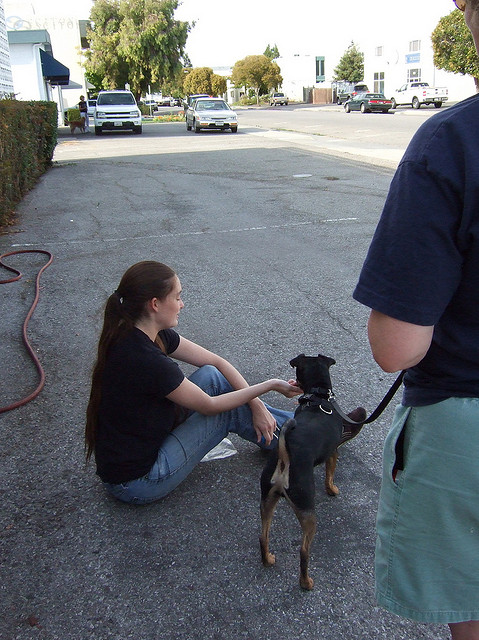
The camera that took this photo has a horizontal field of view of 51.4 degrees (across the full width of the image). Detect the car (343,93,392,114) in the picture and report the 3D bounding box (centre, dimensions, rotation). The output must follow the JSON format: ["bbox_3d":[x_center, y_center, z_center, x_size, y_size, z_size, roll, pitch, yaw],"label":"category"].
[{"bbox_3d":[10.565,-17.656,41.656,2.140,1.508,4.600,-7,24,-13],"label":"car"}]

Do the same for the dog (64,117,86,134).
[{"bbox_3d":[-10.097,-12.094,31.250,1.020,0.932,2.214,-6,22,-14],"label":"dog"}]

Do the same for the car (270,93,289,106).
[{"bbox_3d":[5.737,-31.128,70.940,1.776,1.666,2.781,-8,23,-18],"label":"car"}]

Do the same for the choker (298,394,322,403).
[{"bbox_3d":[0.299,0.336,2.150,0.061,0.022,0.044,-1,17,28],"label":"choker"}]

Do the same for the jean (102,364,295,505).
[{"bbox_3d":[-0.051,0.583,2.729,1.254,0.556,0.385,-18,18,-16],"label":"jean"}]

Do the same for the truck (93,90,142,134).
[{"bbox_3d":[-6.969,-11.978,28.872,2.543,2.597,4.933,-5,23,-9],"label":"truck"}]

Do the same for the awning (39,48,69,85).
[{"bbox_3d":[-10.962,-15.038,30.287,1.798,2.151,3.204,-4,25,-15],"label":"awning"}]

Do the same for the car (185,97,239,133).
[{"bbox_3d":[-1.441,-11.092,27.127,2.126,1.806,3.654,-9,23,-19],"label":"car"}]
